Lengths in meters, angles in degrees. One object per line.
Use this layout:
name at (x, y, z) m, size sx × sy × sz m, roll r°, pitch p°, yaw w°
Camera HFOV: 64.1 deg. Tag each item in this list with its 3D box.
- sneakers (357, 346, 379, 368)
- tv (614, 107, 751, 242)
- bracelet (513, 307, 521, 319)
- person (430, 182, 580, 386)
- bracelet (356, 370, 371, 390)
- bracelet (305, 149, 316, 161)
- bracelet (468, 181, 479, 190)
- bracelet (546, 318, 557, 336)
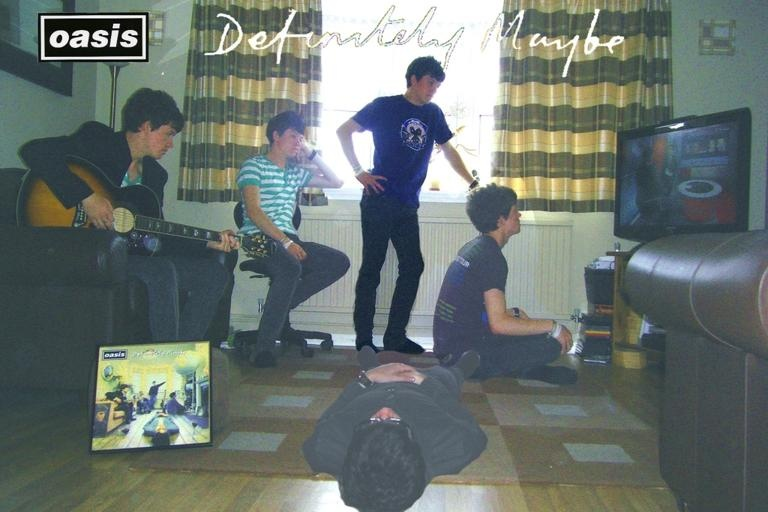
sneakers at (-0.096, 0.613, 3.726) m, size 0.132 × 0.141 × 0.129 m, roll -7°, pitch -10°, yaw 8°
tv at (1.850, -0.483, 3.814) m, size 0.308 × 0.925 × 1.030 m, roll 6°, pitch -5°, yaw -44°
bracelet at (0.813, 0.351, 3.764) m, size 0.069 × 0.053 × 0.068 m, roll 2°, pitch 2°, yaw 16°
person at (0.711, 0.124, 4.139) m, size 1.090 × 1.448 × 1.128 m, roll -3°, pitch 6°, yaw -13°
bracelet at (-0.091, 0.594, 2.933) m, size 0.057 × 0.049 × 0.068 m, roll 0°, pitch -9°, yaw 28°
bracelet at (-0.508, -0.736, 4.431) m, size 0.062 × 0.028 × 0.079 m, roll 0°, pitch -32°, yaw -15°
bracelet at (0.584, -0.459, 3.958) m, size 0.071 × 0.034 × 0.093 m, roll -5°, pitch 21°, yaw 16°
bracelet at (0.953, 0.416, 3.504) m, size 0.044 × 0.070 × 0.065 m, roll 3°, pitch 1°, yaw 1°
